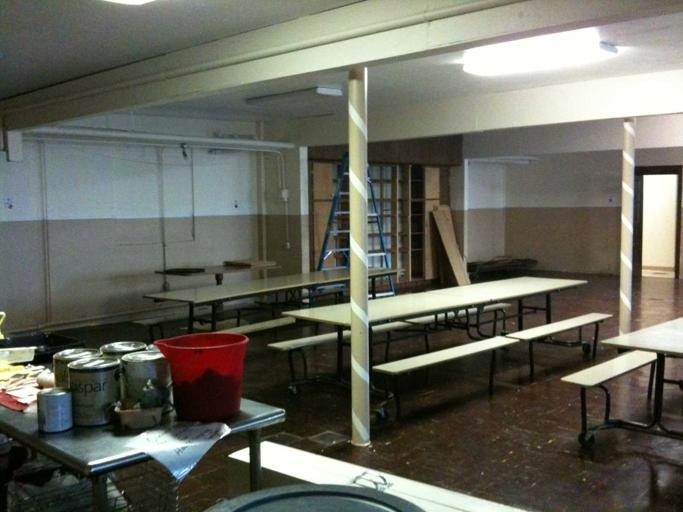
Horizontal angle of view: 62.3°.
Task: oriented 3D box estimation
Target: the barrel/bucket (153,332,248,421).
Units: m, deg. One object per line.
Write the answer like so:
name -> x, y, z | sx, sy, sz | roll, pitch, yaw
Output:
barrel/bucket -> -0.605, 0.506, 2.425 | 0.419, 0.284, 0.354 | -3, -2, 31

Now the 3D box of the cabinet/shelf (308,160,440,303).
cabinet/shelf -> 0.520, -0.484, 9.990 | 1.036, 2.765, 3.190 | 5, 5, 32
